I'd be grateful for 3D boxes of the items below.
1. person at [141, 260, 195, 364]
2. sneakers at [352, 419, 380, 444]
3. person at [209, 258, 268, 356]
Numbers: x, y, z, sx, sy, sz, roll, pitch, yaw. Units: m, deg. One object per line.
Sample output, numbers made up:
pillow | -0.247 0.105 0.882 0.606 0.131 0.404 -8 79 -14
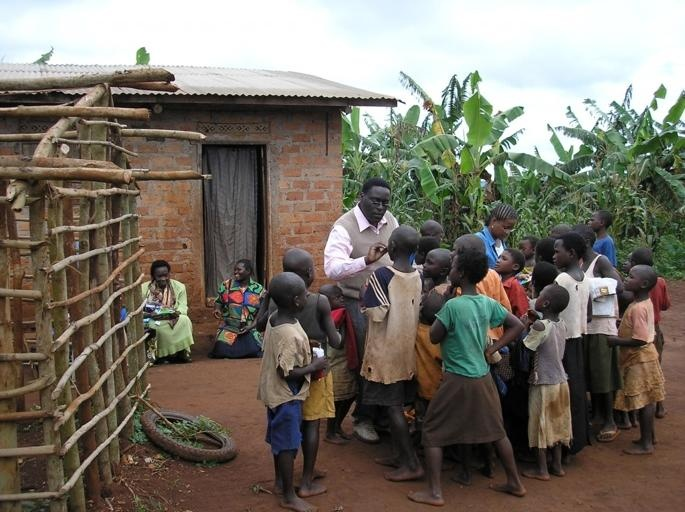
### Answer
person | -2.344 0.751 8.114 0.585 1.330 0.542 -3 9 -18
sneakers | 0.215 1.638 5.687 0.119 0.115 0.275 -7 2 -41
person | -1.447 0.734 8.447 0.878 1.264 0.843 0 8 -33
